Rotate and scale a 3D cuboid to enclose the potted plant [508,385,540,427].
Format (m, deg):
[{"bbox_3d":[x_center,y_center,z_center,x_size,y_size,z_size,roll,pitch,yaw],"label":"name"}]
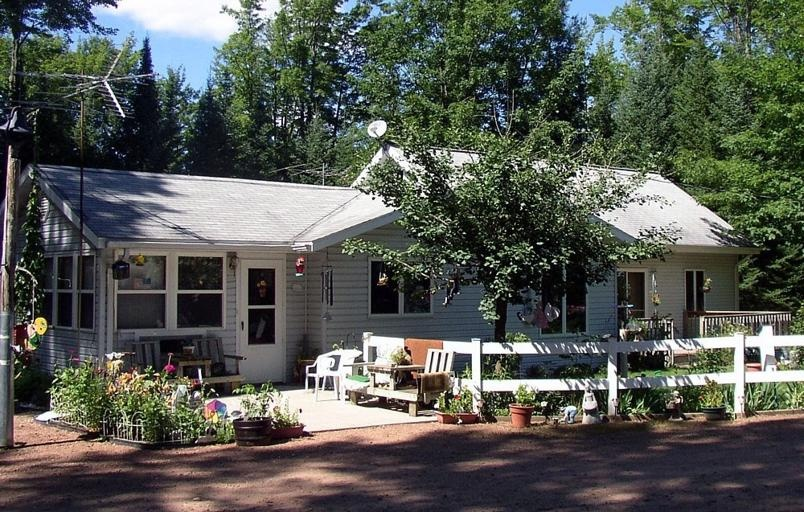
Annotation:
[{"bbox_3d":[2.766,3.531,20.354,0.860,1.125,0.821,1,-3,-16],"label":"potted plant"}]

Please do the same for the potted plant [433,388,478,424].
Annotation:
[{"bbox_3d":[1.265,3.514,20.570,0.818,0.581,0.830,1,-8,-4],"label":"potted plant"}]

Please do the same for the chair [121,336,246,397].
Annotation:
[{"bbox_3d":[-5.616,2.899,23.124,2.903,1.599,1.115,-4,12,-15],"label":"chair"}]

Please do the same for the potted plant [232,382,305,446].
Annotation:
[{"bbox_3d":[-3.127,3.387,20.161,1.531,1.279,2.019,-2,12,-8],"label":"potted plant"}]

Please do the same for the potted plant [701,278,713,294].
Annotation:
[{"bbox_3d":[11.250,1.096,32.540,0.530,0.671,0.532,2,-4,-1],"label":"potted plant"}]
